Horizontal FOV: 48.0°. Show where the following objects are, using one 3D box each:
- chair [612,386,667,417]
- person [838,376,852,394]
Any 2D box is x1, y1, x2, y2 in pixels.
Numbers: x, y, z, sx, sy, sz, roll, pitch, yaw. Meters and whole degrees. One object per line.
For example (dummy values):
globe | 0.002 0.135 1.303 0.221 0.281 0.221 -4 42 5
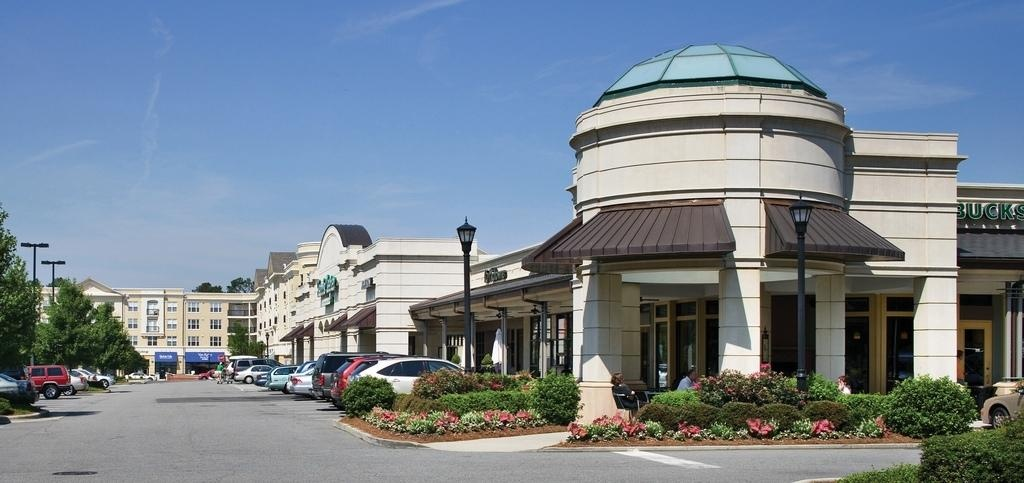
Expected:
chair | 6.519 7.924 57.913 2.441 1.662 1.433 -1 -2 -5
person | 17.415 7.434 59.895 0.583 1.026 2.807 -3 -10 16
